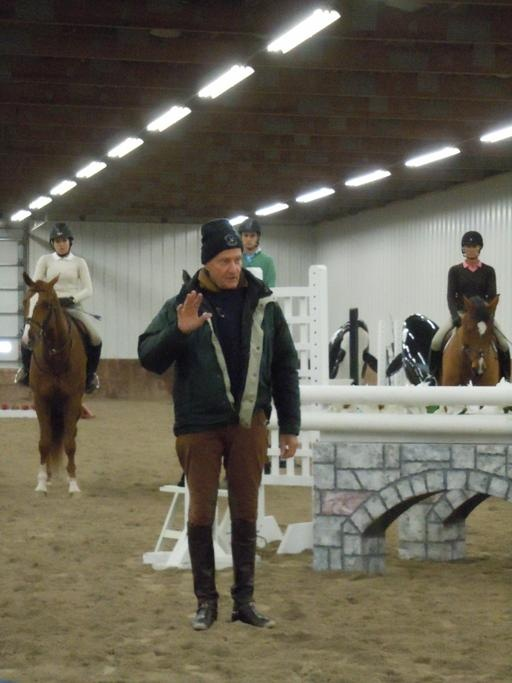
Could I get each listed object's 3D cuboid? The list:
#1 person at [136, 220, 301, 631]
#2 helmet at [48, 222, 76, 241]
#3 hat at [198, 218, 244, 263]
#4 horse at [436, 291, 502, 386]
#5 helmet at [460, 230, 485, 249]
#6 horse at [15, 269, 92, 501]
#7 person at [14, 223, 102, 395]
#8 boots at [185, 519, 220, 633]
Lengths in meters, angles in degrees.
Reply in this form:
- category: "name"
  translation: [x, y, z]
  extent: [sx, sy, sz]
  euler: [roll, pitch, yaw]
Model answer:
- category: "person"
  translation: [-0.147, 0.385, 6.230]
  extent: [0.795, 1.934, 0.523]
  euler: [1, -1, -10]
- category: "helmet"
  translation: [-1.503, -0.855, 10.287]
  extent: [0.135, 0.149, 0.184]
  euler: [-3, 4, -9]
- category: "hat"
  translation: [-0.144, -0.468, 6.287]
  extent: [0.176, 0.176, 0.183]
  euler: [-18, -6, -5]
- category: "horse"
  translation: [1.692, -0.001, 10.289]
  extent: [0.310, 0.667, 0.500]
  euler: [1, -1, -16]
- category: "helmet"
  translation: [1.736, -0.815, 10.562]
  extent: [0.121, 0.132, 0.168]
  euler: [3, 7, 5]
- category: "horse"
  translation: [-1.457, 0.313, 9.658]
  extent: [0.376, 1.584, 0.840]
  euler: [0, -1, 19]
- category: "person"
  translation: [-1.500, -0.281, 10.255]
  extent: [0.592, 1.368, 0.500]
  euler: [1, -1, 3]
- category: "boots"
  translation: [-0.228, 1.111, 6.276]
  extent: [0.104, 0.497, 0.209]
  euler: [-1, -2, 36]
